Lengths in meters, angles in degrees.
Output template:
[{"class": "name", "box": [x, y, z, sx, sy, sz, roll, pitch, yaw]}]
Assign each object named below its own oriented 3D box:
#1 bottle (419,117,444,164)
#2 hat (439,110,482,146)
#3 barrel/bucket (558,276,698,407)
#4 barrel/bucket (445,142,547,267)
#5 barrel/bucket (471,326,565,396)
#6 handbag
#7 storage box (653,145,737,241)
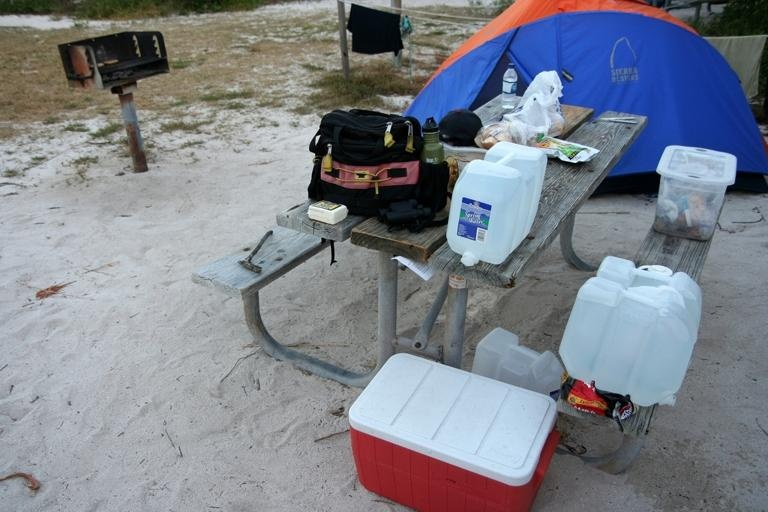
[{"class": "bottle", "box": [0.364, -0.867, 3.908, 0.162, 0.313, 0.461, 2, 33, 7]}, {"class": "hat", "box": [0.617, -1.028, 4.382, 0.241, 0.191, 0.362, -5, 37, -5]}, {"class": "barrel/bucket", "box": [1.604, 0.499, 3.721, 0.841, 0.814, 0.792, -3, 74, 11]}, {"class": "barrel/bucket", "box": [0.732, -0.326, 3.676, 0.445, 0.710, 0.711, 18, 24, 29]}, {"class": "barrel/bucket", "box": [1.008, 0.779, 4.070, 0.594, 0.426, 0.368, 23, 67, 19]}, {"class": "handbag", "box": [-0.128, -0.728, 4.029, 0.848, 0.629, 0.683, 3, 24, 1]}, {"class": "storage box", "box": [2.380, -0.394, 4.341, 0.590, 0.463, 0.549, 9, 6, 11]}]
